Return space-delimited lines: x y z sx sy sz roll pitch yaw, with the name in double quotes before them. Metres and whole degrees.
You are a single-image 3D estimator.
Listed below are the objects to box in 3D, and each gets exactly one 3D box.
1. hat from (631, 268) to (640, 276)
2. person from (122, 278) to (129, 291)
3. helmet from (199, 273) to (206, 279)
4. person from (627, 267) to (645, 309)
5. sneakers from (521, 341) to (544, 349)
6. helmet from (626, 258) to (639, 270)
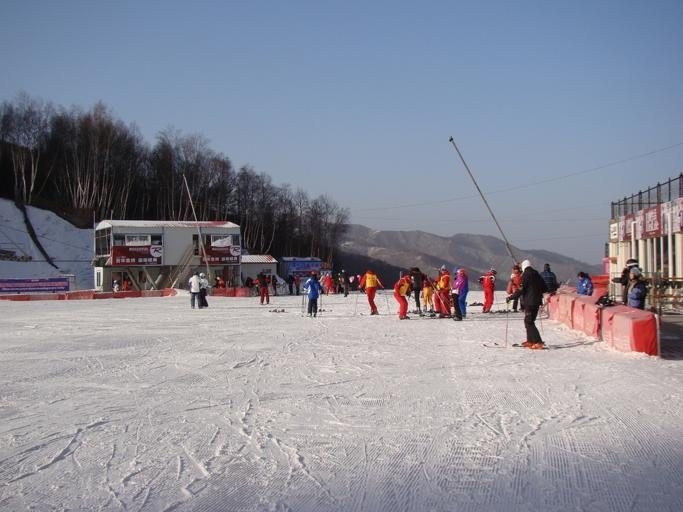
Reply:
"hat" 7.848 0.403 13.442 0.271 0.229 0.176 -1 2 -25
"person" -19.525 2.607 45.252 0.511 1.217 1.719 3 -19 -21
"helmet" -8.620 1.209 31.012 0.333 0.200 0.470 1 0 -11
"person" 7.886 0.842 13.445 0.402 1.107 0.665 0 2 30
"sneakers" 4.467 2.102 11.809 0.476 0.221 0.171 6 -3 24
"helmet" 8.864 0.250 15.366 0.301 0.339 0.359 11 30 28
